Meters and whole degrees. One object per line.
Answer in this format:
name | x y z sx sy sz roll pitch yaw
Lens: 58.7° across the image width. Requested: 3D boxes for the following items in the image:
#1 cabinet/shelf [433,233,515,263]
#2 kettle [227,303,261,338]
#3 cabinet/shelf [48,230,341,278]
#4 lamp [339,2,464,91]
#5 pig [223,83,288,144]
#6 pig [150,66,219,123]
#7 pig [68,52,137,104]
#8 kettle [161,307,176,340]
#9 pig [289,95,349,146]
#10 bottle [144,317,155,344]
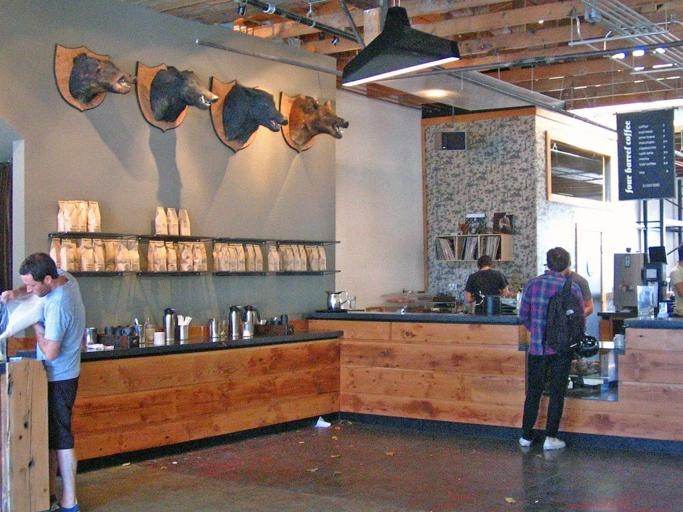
cabinet/shelf | 2.342 -0.153 10.839 1.291 0.500 0.429 -1 -1 30
kettle | -1.116 0.736 6.848 0.411 0.394 0.242 3 -7 -20
cabinet/shelf | -1.512 -0.002 6.677 3.144 0.454 0.458 0 -1 -36
lamp | 0.464 -1.885 5.288 1.091 0.632 0.339 -1 -1 44
pig | -0.974 -1.648 6.922 0.755 0.664 0.300 -1 -1 32
pig | -1.693 -1.662 6.445 0.713 0.691 0.528 14 14 41
pig | -2.303 -1.692 5.827 0.666 0.453 0.442 3 6 -31
kettle | -1.761 0.707 6.240 0.120 0.324 0.227 0 -1 -15
pig | -0.313 -1.689 7.400 0.714 0.804 0.564 3 3 35
bottle | -1.953 0.744 6.170 0.111 0.246 0.441 0 -1 -18
